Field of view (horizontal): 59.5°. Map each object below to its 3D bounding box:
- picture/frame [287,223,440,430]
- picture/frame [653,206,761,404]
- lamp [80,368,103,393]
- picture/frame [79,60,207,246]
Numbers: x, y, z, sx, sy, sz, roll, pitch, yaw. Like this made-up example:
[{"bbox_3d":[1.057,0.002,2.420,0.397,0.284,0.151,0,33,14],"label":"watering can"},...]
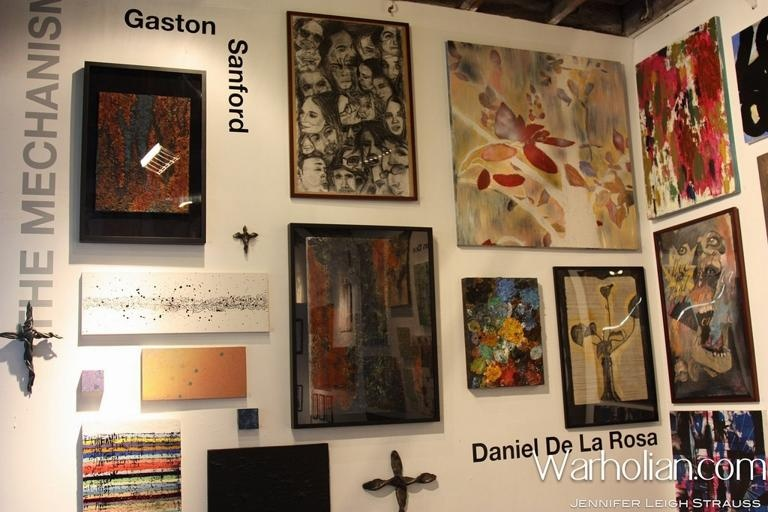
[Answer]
[{"bbox_3d":[-0.159,0.486,4.279,1.154,1.745,0.060,0,-5,-13],"label":"picture/frame"},{"bbox_3d":[2.157,0.353,4.491,0.155,1.212,0.645,6,-14,-29],"label":"picture/frame"},{"bbox_3d":[-1.709,0.725,3.983,0.118,0.135,0.132,-1,-2,-2],"label":"lamp"},{"bbox_3d":[-1.476,-0.644,4.163,0.694,1.134,0.042,1,-16,-20],"label":"picture/frame"}]
